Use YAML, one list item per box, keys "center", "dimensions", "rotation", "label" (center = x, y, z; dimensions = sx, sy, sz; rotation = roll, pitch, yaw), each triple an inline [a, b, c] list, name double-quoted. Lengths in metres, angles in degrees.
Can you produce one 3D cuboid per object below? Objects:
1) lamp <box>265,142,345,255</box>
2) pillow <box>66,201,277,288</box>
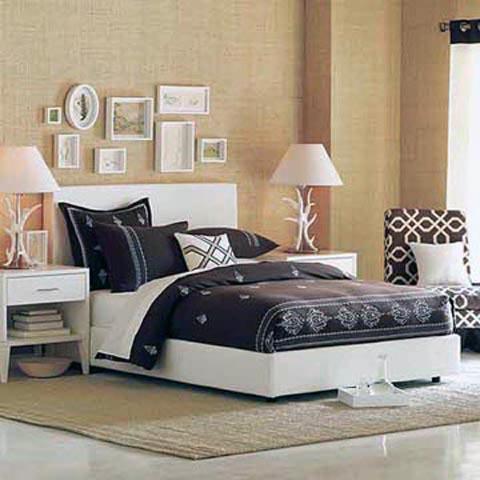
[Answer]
- center: [0.593, -0.354, 5.583]
  dimensions: [0.796, 1.223, 0.863]
  rotation: [0, 2, 10]
  label: "lamp"
- center: [-0.715, 0.027, 4.088]
  dimensions: [0.831, 0.347, 0.710]
  rotation: [3, 8, 29]
  label: "pillow"
